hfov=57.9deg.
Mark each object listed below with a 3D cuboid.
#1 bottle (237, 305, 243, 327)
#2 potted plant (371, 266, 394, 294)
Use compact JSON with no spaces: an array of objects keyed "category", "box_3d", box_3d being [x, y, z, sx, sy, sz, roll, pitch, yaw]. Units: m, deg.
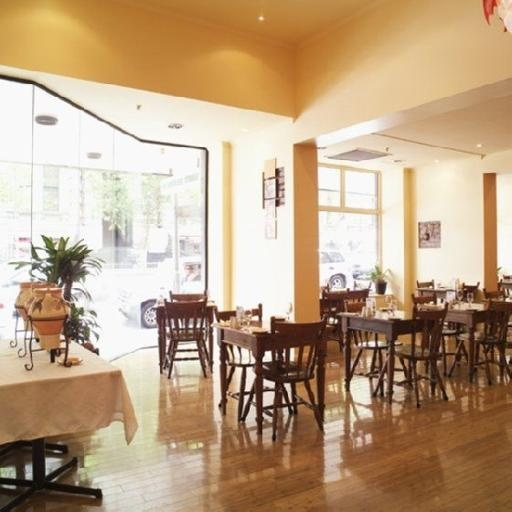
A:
[{"category":"bottle","box_3d":[-0.133,0.511,3.927,0.058,0.169,0.113,0,1,-5]},{"category":"potted plant","box_3d":[2.506,0.491,9.422,0.541,0.707,0.497,0,-4,-1]}]
